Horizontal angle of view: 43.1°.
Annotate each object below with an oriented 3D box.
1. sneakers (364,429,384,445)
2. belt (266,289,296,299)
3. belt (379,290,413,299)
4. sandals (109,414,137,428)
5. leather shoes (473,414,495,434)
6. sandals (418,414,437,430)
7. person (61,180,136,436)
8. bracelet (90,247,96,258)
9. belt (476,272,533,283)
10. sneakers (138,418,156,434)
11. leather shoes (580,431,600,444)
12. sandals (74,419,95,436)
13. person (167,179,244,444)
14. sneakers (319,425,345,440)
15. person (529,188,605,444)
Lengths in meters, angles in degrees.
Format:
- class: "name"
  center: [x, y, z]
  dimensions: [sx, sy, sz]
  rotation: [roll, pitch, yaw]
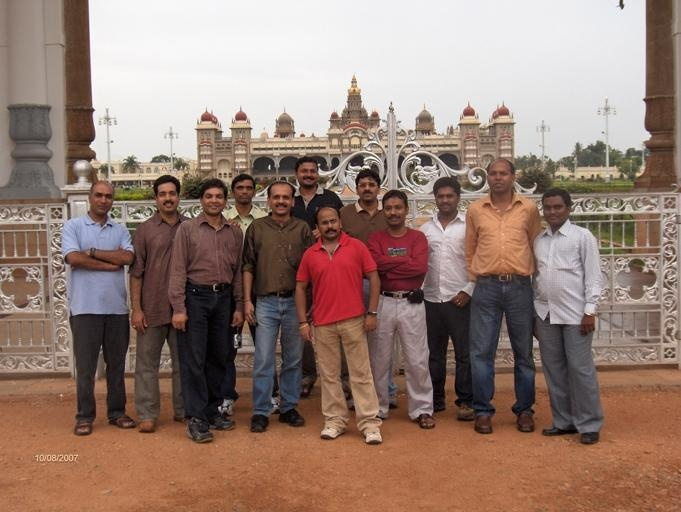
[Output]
- class: "sneakers"
  center: [0.289, 1.570, 7.581]
  dimensions: [0.164, 0.113, 0.172]
  rotation: [-2, 2, 1]
- class: "belt"
  center: [-0.546, 0.344, 7.920]
  dimensions: [0.265, 0.074, 0.066]
  rotation: [-3, 2, -21]
- class: "belt"
  center: [0.555, 0.362, 7.903]
  dimensions: [0.332, 0.092, 0.062]
  rotation: [-2, 2, 0]
- class: "sandals"
  center: [-2.017, 1.523, 7.991]
  dimensions: [0.267, 0.092, 0.105]
  rotation: [-5, -3, 36]
- class: "leather shoes"
  center: [1.301, 1.500, 7.838]
  dimensions: [0.167, 0.154, 0.292]
  rotation: [-2, 2, 10]
- class: "sandals"
  center: [0.787, 1.498, 7.937]
  dimensions: [0.178, 0.122, 0.199]
  rotation: [-2, 2, 6]
- class: "person"
  center: [-2.198, 0.570, 7.947]
  dimensions: [0.620, 2.039, 0.322]
  rotation: [-3, 2, -20]
- class: "bracelet"
  center: [-2.250, -0.033, 7.817]
  dimensions: [0.077, 0.098, 0.058]
  rotation: [1, -4, -2]
- class: "belt"
  center: [1.502, 0.194, 7.848]
  dimensions: [0.495, 0.083, 0.161]
  rotation: [-2, 2, 3]
- class: "sneakers"
  center: [-1.773, 1.531, 7.921]
  dimensions: [0.175, 0.117, 0.260]
  rotation: [-3, 2, -13]
- class: "leather shoes"
  center: [2.158, 1.571, 7.513]
  dimensions: [0.186, 0.076, 0.077]
  rotation: [-9, 6, -22]
- class: "sandals"
  center: [-2.320, 1.544, 7.788]
  dimensions: [0.083, 0.087, 0.210]
  rotation: [2, 8, -10]
- class: "person"
  center: [-1.208, 0.598, 7.869]
  dimensions: [0.400, 2.022, 0.705]
  rotation: [-1, 3, 37]
- class: "sneakers"
  center: [-0.070, 1.563, 7.694]
  dimensions: [0.089, 0.100, 0.244]
  rotation: [-5, -14, 22]
- class: "person"
  center: [2.012, 0.645, 7.631]
  dimensions: [0.585, 1.947, 0.339]
  rotation: [-2, 2, 17]
